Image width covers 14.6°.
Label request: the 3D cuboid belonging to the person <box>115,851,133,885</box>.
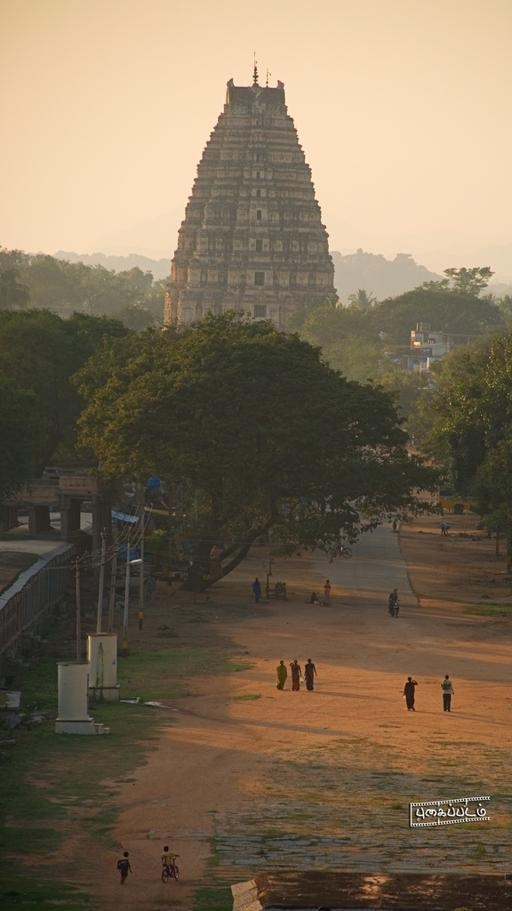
[{"bbox_3d":[-2.855,8.801,43.278,0.331,0.731,1.415,1,-1,-4],"label":"person"}]

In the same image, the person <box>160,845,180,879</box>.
[{"bbox_3d":[-1.873,8.787,43.273,0.297,0.513,0.711,-10,-5,1],"label":"person"}]

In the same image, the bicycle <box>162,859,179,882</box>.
[{"bbox_3d":[-1.856,8.808,43.163,0.385,0.594,0.556,1,-1,-4],"label":"bicycle"}]
